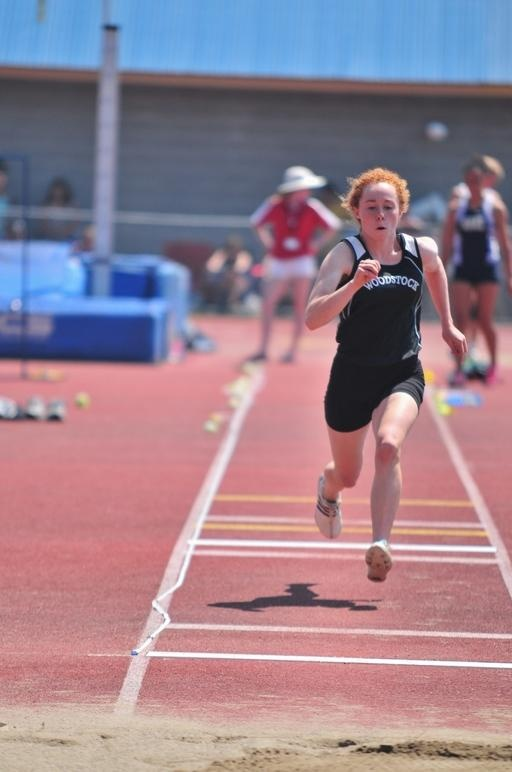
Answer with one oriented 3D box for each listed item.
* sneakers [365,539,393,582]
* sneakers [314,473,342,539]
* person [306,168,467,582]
[{"bbox_3d":[0.410,0.576,3.293,0.074,0.160,0.074,4,43,5],"label":"sneakers"},{"bbox_3d":[0.299,0.467,3.869,0.108,0.245,0.104,-5,20,-4],"label":"sneakers"},{"bbox_3d":[0.446,-0.001,3.418,0.530,1.480,0.766,2,10,9],"label":"person"}]
